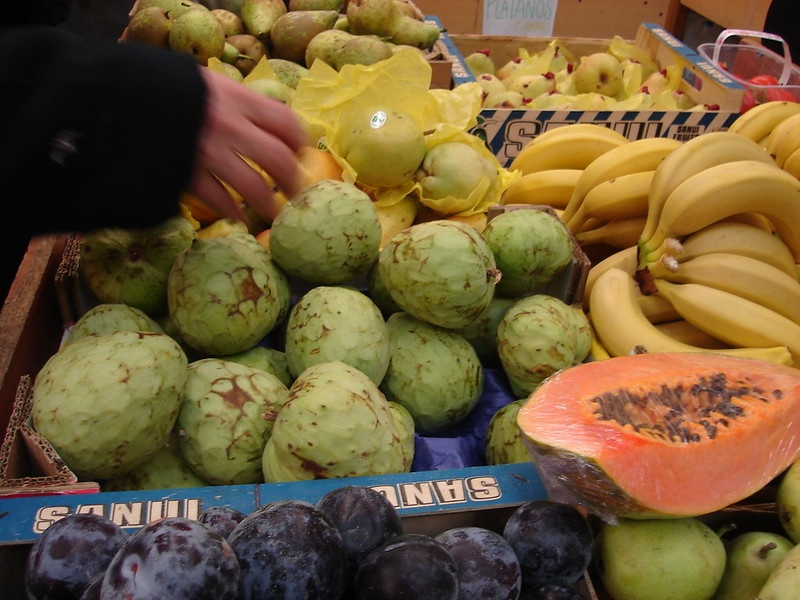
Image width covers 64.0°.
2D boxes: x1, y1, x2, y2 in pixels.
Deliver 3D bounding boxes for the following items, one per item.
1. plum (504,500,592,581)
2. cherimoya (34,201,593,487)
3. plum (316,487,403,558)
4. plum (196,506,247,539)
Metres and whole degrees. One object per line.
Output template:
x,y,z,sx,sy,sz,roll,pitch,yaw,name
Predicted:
0.269,0.426,1.137,0.149,0.078,0.146,-17,58,-16,plum
-0.309,0.181,1.686,1.029,0.655,0.954,-4,24,-17,cherimoya
-0.080,0.342,1.087,0.151,0.084,0.165,-7,17,-14,plum
-0.319,0.362,1.059,0.066,0.030,0.051,6,2,35,plum
